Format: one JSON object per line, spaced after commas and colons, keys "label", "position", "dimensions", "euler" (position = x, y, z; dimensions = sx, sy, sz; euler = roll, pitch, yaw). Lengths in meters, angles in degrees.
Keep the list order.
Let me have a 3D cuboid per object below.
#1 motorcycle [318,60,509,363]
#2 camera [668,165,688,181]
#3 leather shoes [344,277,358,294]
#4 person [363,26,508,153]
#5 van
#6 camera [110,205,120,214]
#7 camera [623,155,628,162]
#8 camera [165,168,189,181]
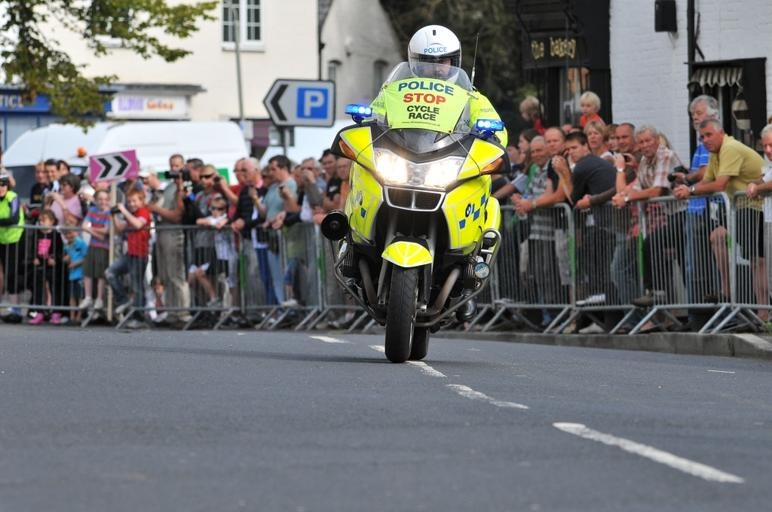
{"label": "motorcycle", "position": [0.319, -0.446, 13.933], "dimensions": [1.779, 3.052, 1.247], "euler": [0, 3, -3]}
{"label": "camera", "position": [3.532, -1.003, 16.833], "dimensions": [0.076, 0.204, 0.211], "euler": [45, 16, 1]}
{"label": "leather shoes", "position": [-0.350, 0.288, 14.306], "dimensions": [0.142, 0.130, 0.239], "euler": [1, 3, -2]}
{"label": "person", "position": [0.670, -1.833, 14.931], "dimensions": [0.782, 1.002, 1.842], "euler": [2, -6, 6]}
{"label": "van", "position": [-4.863, -2.110, 26.126], "dimensions": [3.608, 1.376, 1.936], "euler": [2, 1, -2]}
{"label": "camera", "position": [-4.089, -0.702, 21.034], "dimensions": [0.136, 0.120, 0.036], "euler": [13, 3, 26]}
{"label": "camera", "position": [3.092, -1.258, 17.898], "dimensions": [0.035, 0.077, 0.159], "euler": [1, 4, 27]}
{"label": "camera", "position": [-3.217, -1.276, 21.711], "dimensions": [0.280, 0.149, 0.275], "euler": [-1, 6, -16]}
